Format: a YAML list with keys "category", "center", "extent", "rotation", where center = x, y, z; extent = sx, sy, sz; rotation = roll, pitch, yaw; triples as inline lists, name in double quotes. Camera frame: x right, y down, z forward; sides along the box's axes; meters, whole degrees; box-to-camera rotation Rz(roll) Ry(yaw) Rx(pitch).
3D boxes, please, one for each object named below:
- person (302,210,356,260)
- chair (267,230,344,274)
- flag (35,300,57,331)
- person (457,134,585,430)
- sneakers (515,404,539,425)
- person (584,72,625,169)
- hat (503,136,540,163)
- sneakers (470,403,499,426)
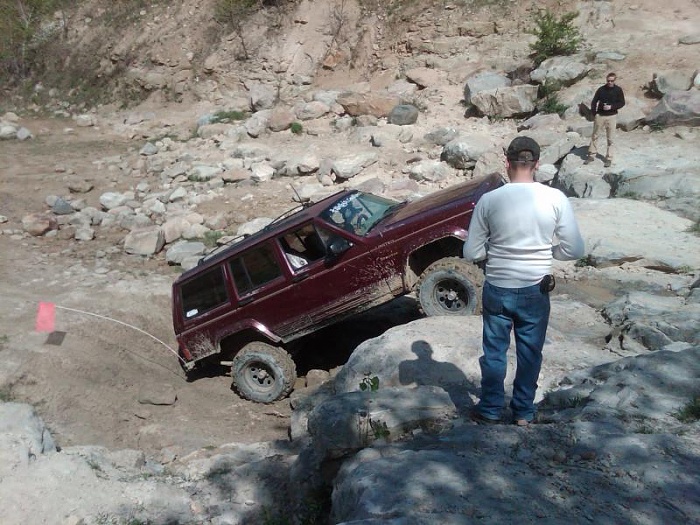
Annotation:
- category: "person"
  center: [-0.397, -0.309, 10.152]
  extent: [0.825, 0.553, 0.432]
  rotation: [14, 31, 37]
- category: "chair"
  center: [-0.657, -0.285, 10.059]
  extent: [0.910, 0.569, 0.549]
  rotation: [-14, -13, 42]
- category: "flag"
  center: [-5.337, 0.940, 11.878]
  extent: [0.333, 0.169, 0.587]
  rotation: [-6, 31, -15]
- category: "person"
  center: [1.896, 0.237, 7.798]
  extent: [1.364, 3.207, 0.978]
  rotation: [-26, 31, -37]
- category: "sneakers"
  center: [2.087, 1.810, 7.966]
  extent: [0.140, 0.169, 0.390]
  rotation: [-2, -3, 27]
- category: "person"
  center: [5.731, -3.277, 15.174]
  extent: [0.713, 1.958, 0.686]
  rotation: [2, 26, 18]
- category: "hat"
  center: [1.967, -1.317, 7.673]
  extent: [0.335, 0.277, 0.214]
  rotation: [-1, 25, 10]
- category: "sneakers"
  center: [1.586, 1.823, 8.074]
  extent: [0.220, 0.134, 0.289]
  rotation: [-1, 3, -23]
